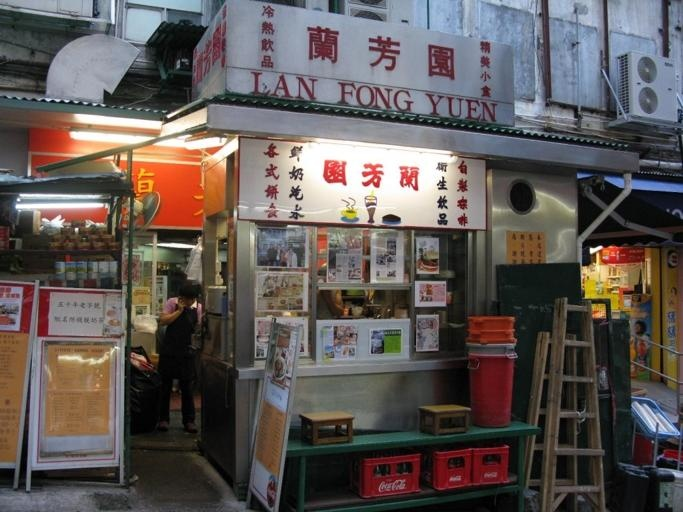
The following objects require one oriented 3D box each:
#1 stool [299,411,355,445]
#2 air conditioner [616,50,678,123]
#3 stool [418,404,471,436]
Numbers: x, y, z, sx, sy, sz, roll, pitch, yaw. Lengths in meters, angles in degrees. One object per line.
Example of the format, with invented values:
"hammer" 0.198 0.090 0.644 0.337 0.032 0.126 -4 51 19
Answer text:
"stool" -0.149 1.686 6.334 0.484 0.260 0.403 2 -6 -20
"air conditioner" 5.903 -3.167 12.588 0.908 1.360 1.036 -2 6 -17
"stool" 1.026 1.665 6.625 0.373 0.224 0.298 2 -2 -25
